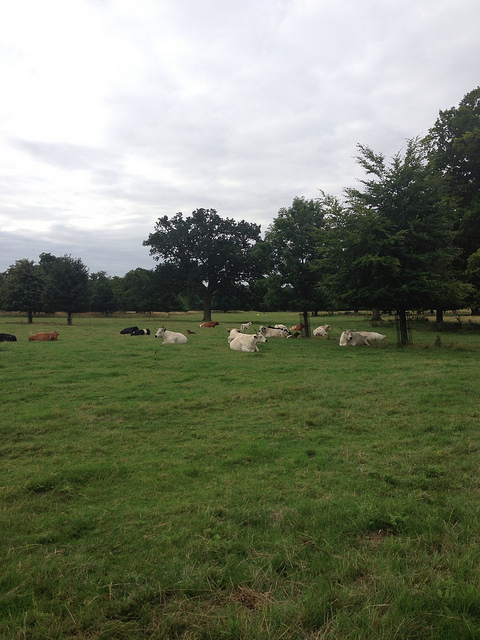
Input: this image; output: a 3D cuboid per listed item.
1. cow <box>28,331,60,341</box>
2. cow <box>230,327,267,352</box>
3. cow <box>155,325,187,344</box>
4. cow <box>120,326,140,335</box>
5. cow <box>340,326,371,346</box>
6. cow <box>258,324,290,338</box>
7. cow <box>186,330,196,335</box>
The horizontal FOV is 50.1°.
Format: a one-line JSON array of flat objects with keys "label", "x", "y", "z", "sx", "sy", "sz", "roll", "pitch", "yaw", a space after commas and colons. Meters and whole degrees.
[{"label": "cow", "x": -8.316, "y": 0.707, "z": 21.894, "sx": 1.061, "sy": 0.334, "sz": 0.931, "roll": -3, "pitch": 8, "yaw": -21}, {"label": "cow", "x": 0.427, "y": 0.823, "z": 19.362, "sx": 1.578, "sy": 0.828, "sz": 0.558, "roll": 1, "pitch": 7, "yaw": 25}, {"label": "cow", "x": -3.126, "y": 0.629, "z": 22.657, "sx": 1.618, "sy": 0.852, "sz": 0.556, "roll": 3, "pitch": 7, "yaw": 21}, {"label": "cow", "x": -5.622, "y": 0.500, "z": 27.004, "sx": 1.179, "sy": 0.555, "sz": 0.373, "roll": -3, "pitch": 6, "yaw": -41}, {"label": "cow", "x": 4.872, "y": 0.749, "z": 21.873, "sx": 0.581, "sy": 0.700, "sz": 1.293, "roll": -1, "pitch": -6, "yaw": 39}, {"label": "cow", "x": 1.726, "y": 0.611, "z": 27.586, "sx": 1.704, "sy": 0.743, "sz": 0.606, "roll": 10, "pitch": 4, "yaw": 12}, {"label": "cow", "x": -2.711, "y": 0.657, "z": 28.849, "sx": 0.620, "sy": 0.293, "sz": 0.184, "roll": 9, "pitch": -7, "yaw": -44}]
